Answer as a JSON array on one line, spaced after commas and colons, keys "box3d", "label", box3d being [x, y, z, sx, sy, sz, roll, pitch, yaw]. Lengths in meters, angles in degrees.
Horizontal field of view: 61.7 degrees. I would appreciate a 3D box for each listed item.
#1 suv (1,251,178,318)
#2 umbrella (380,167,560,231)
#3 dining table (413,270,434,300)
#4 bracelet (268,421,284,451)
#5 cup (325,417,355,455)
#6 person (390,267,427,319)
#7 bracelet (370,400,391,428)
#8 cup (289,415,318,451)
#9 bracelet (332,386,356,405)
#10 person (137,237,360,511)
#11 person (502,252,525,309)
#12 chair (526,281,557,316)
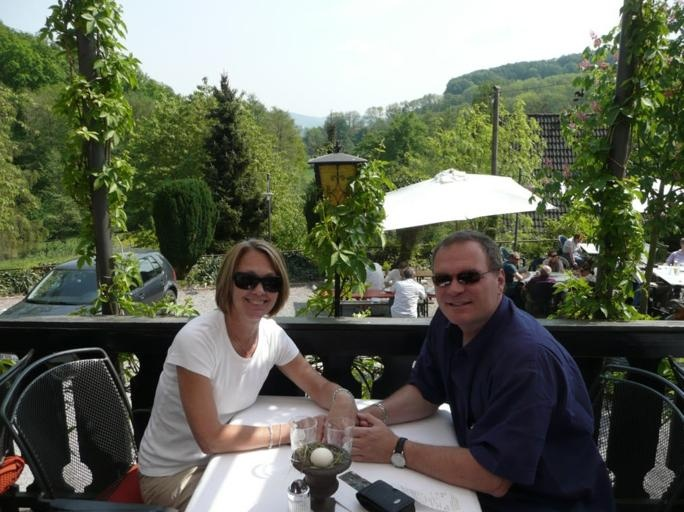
[{"box3d": [-3.992, 0.446, 8.889, 1.363, 1.202, 3.155, -2, 0, 13], "label": "suv"}, {"box3d": [1.585, -0.800, 8.078, 1.545, 0.706, 1.671, -15, 23, -14], "label": "umbrella"}, {"box3d": [2.087, 0.862, 14.576, 0.687, 0.290, 1.089, -1, 8, 7], "label": "dining table"}, {"box3d": [-0.350, 0.939, 3.014, 0.071, 0.115, 0.039, 2, -6, -3], "label": "bracelet"}, {"box3d": [-0.012, 0.864, 2.833, 0.173, 0.239, 0.143, 1, 1, 3], "label": "cup"}, {"box3d": [1.056, 0.776, 9.445, 0.477, 1.208, 0.663, 7, 5, 7], "label": "person"}, {"box3d": [0.221, 0.888, 3.268, 0.074, 0.122, 0.122, -17, 51, -22], "label": "bracelet"}, {"box3d": [-0.184, 0.846, 2.782, 0.127, 0.165, 0.138, 1, 0, 0], "label": "cup"}, {"box3d": [0.001, 0.825, 3.398, 0.132, 0.098, 0.188, 3, 1, -2], "label": "bracelet"}, {"box3d": [-0.505, 0.693, 4.003, 1.414, 2.258, 1.023, 1, 0, 19], "label": "person"}, {"box3d": [3.192, 0.442, 10.596, 0.542, 1.167, 0.429, -5, 4, 9], "label": "person"}, {"box3d": [2.958, 0.614, 8.504, 0.352, 0.685, 0.459, 2, 19, 10], "label": "chair"}]
